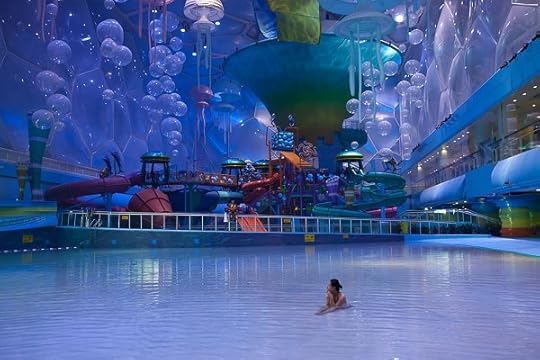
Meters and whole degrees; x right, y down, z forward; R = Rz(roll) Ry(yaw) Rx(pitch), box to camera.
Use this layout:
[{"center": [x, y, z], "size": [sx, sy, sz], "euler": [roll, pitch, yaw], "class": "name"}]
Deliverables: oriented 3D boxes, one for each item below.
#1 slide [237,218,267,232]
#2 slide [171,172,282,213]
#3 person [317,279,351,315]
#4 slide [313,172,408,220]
[{"center": [-0.942, 2.174, 20.950], "size": [1.388, 0.728, 0.329], "euler": [0, -6, -7], "class": "slide"}, {"center": [-3.909, 0.907, 31.923], "size": [5.028, 2.313, 4.451], "euler": [-1, -4, -16], "class": "slide"}, {"center": [1.142, 2.200, 7.815], "size": [0.870, 0.663, 0.409], "euler": [3, -4, -38], "class": "person"}, {"center": [6.550, 1.072, 30.009], "size": [4.977, 2.152, 3.736], "euler": [-4, 0, -19], "class": "slide"}]
